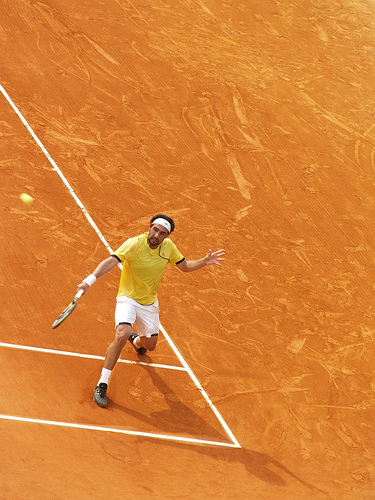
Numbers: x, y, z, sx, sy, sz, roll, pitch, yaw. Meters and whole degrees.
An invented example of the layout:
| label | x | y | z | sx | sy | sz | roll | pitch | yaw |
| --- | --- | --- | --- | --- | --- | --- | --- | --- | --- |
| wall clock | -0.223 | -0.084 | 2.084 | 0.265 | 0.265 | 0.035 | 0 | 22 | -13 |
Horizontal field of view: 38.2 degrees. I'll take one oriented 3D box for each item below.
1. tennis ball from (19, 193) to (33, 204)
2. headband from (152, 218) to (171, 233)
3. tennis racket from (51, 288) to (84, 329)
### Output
| label | x | y | z | sx | sy | sz | roll | pitch | yaw |
| --- | --- | --- | --- | --- | --- | --- | --- | --- | --- |
| tennis ball | -2.405 | -0.783 | 8.116 | 0.218 | 0.063 | 0.109 | 28 | 41 | 15 |
| headband | -0.270 | -0.279 | 5.808 | 0.148 | 0.148 | 0.058 | 36 | 69 | -27 |
| tennis racket | -1.143 | 0.567 | 5.302 | 0.053 | 0.216 | 0.477 | 43 | 62 | 0 |
